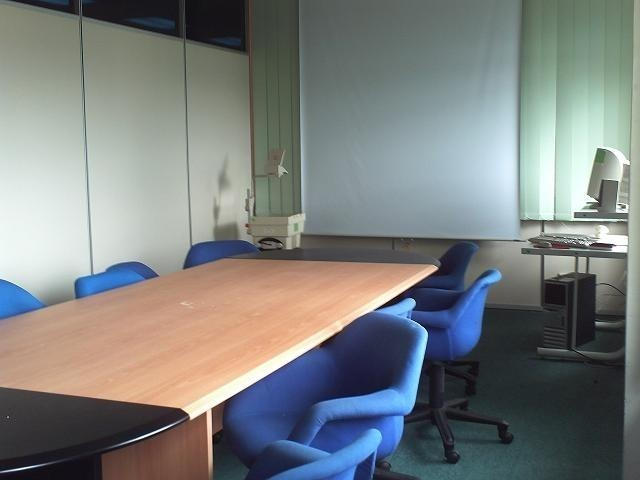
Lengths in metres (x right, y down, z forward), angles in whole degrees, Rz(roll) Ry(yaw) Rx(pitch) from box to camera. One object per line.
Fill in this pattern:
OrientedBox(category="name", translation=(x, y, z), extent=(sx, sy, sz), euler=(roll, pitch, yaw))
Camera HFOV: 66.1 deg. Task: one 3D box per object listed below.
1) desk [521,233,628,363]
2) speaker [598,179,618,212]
OrientedBox(category="desk", translation=(2.375, 0.138, 4.591), extent=(0.876, 1.290, 1.787), euler=(0, 2, 27))
OrientedBox(category="speaker", translation=(2.313, -0.348, 3.946), extent=(0.134, 0.246, 0.210), euler=(4, 11, 30))
